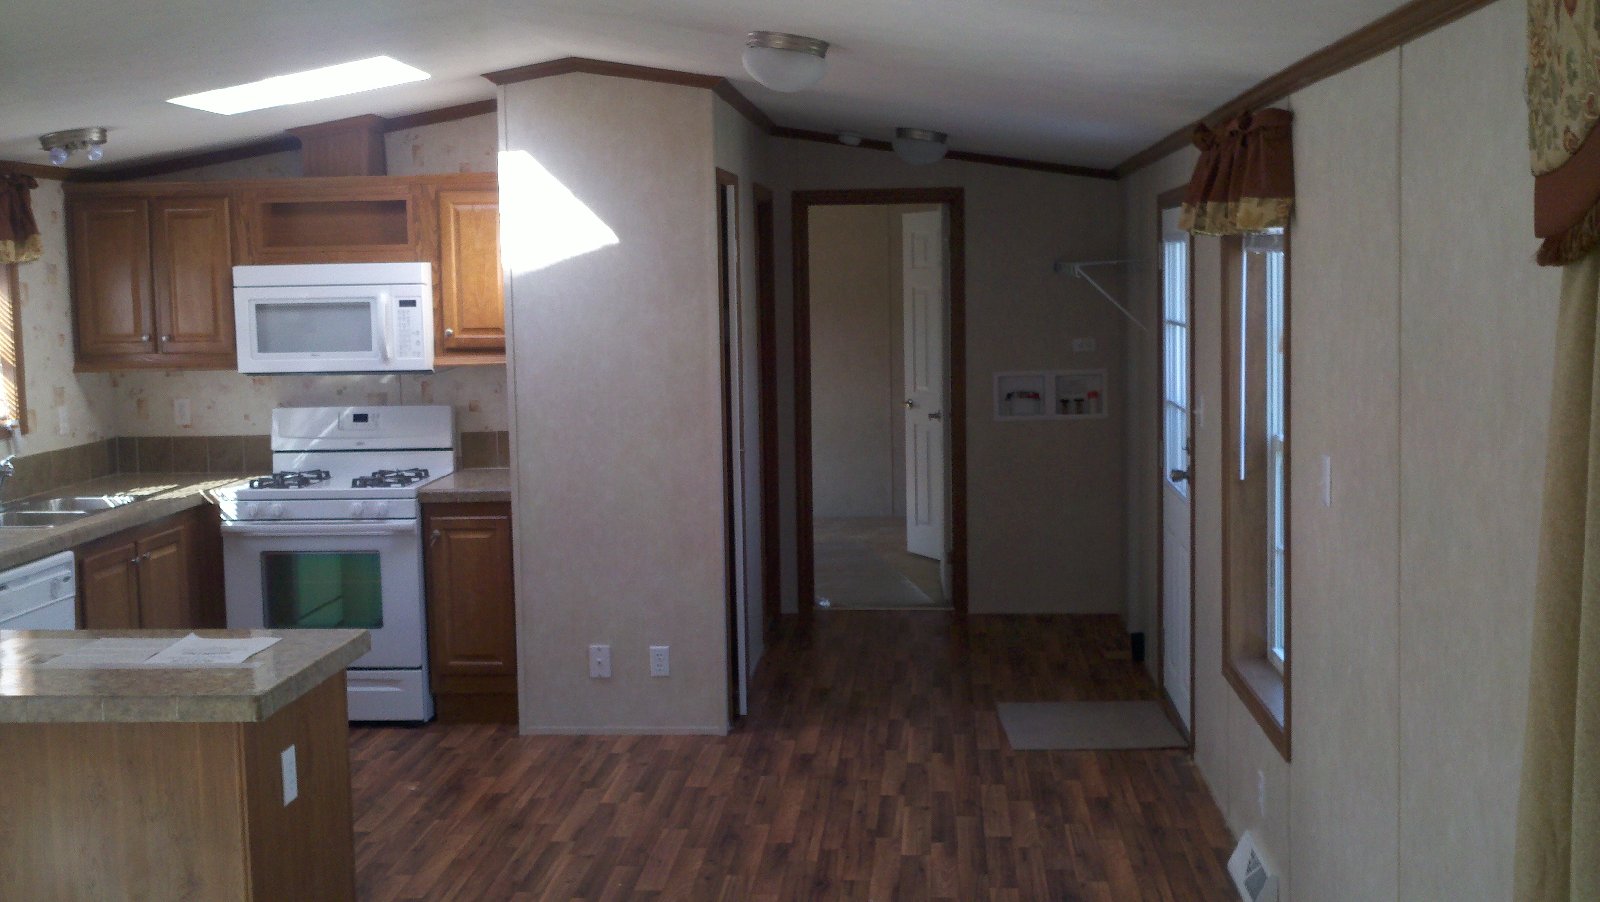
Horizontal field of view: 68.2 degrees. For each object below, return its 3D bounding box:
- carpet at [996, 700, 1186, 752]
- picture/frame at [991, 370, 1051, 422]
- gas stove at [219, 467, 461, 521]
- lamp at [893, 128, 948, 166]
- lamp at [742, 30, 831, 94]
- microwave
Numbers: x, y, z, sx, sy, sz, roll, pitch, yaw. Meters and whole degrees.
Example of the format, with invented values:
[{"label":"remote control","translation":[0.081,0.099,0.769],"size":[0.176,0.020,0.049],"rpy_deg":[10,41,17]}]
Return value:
[{"label":"carpet","translation":[1.528,1.456,6.317],"size":[0.905,0.111,0.501],"rpy_deg":[-2,5,2]},{"label":"picture/frame","translation":[1.459,-0.381,7.796],"size":[0.382,0.292,0.118],"rpy_deg":[0,1,3]},{"label":"gas stove","translation":[-2.616,0.240,6.624],"size":[1.171,0.241,0.465],"rpy_deg":[-2,5,6]},{"label":"lamp","translation":[0.718,-1.804,6.981],"size":[0.252,0.146,0.242],"rpy_deg":[0,3,-19]},{"label":"lamp","translation":[-0.067,-1.773,5.350],"size":[0.283,0.158,0.269],"rpy_deg":[3,3,15]},{"label":"microwave","translation":[-2.590,-0.762,6.621],"size":[1.124,0.607,0.641],"rpy_deg":[0,1,0]}]
